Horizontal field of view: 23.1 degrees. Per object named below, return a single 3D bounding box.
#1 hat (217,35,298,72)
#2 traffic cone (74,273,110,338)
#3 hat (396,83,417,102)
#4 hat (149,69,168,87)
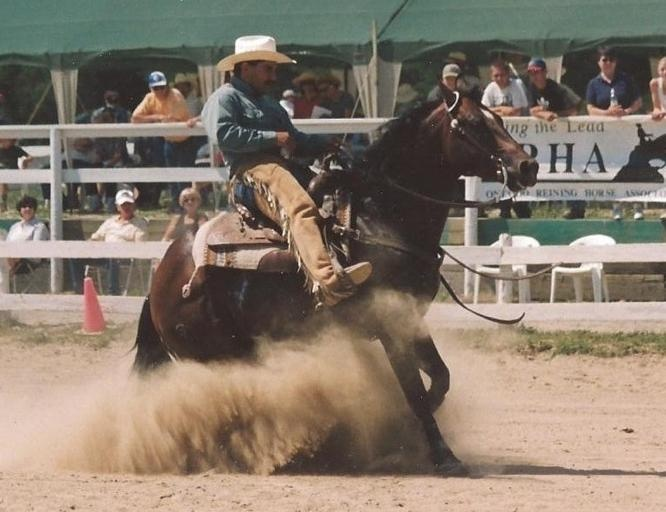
[{"bbox_3d":[-0.874,-2.258,18.176,0.580,0.234,0.522,0,-2,-6],"label":"hat"},{"bbox_3d":[-3.166,0.629,21.513,0.318,0.707,0.498,-2,6,-8],"label":"traffic cone"},{"bbox_3d":[1.145,-2.495,25.086,0.241,0.293,0.082,16,0,-14],"label":"hat"},{"bbox_3d":[-2.429,-2.437,22.664,0.288,0.234,0.424,-5,6,-16],"label":"hat"}]
